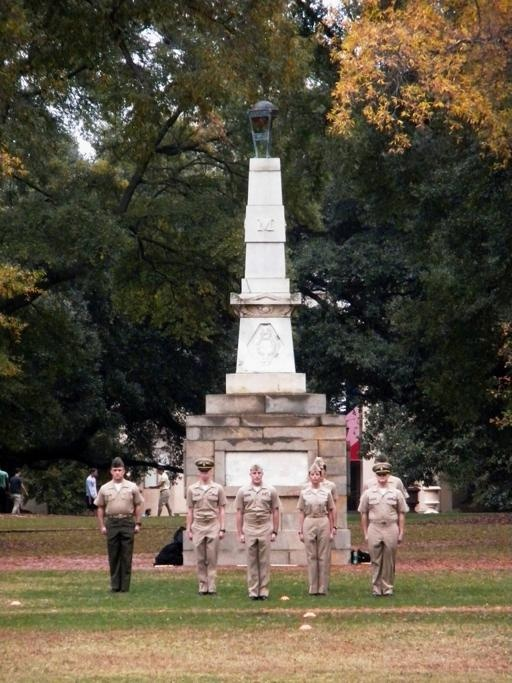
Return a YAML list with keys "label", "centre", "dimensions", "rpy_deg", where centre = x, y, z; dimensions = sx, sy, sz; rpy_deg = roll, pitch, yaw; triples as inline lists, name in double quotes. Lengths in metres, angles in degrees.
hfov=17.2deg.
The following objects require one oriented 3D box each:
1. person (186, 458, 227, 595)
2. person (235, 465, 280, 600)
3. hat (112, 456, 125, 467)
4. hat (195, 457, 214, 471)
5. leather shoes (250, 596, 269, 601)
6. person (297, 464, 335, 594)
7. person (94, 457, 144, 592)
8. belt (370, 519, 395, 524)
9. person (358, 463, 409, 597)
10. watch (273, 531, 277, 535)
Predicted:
- label: "person"
  centre: [-0.651, 2.280, 20.767]
  dimensions: [0.459, 1.645, 0.624]
  rpy_deg: [3, -8, -3]
- label: "person"
  centre: [0.023, 2.313, 20.455]
  dimensions: [0.504, 1.589, 0.641]
  rpy_deg: [6, -8, -20]
- label: "hat"
  centre: [-1.737, 1.510, 20.909]
  dimensions: [0.102, 0.150, 0.145]
  rpy_deg: [0, 16, -1]
- label: "hat"
  centre: [-0.682, 1.560, 21.458]
  dimensions: [0.294, 0.173, 0.358]
  rpy_deg: [1, -17, 2]
- label: "leather shoes"
  centre: [0.018, 3.017, 20.020]
  dimensions: [0.197, 0.096, 0.071]
  rpy_deg: [-2, 6, -11]
- label: "person"
  centre: [0.698, 2.397, 20.613]
  dimensions: [0.450, 1.353, 0.293]
  rpy_deg: [2, -8, 7]
- label: "person"
  centre: [-1.745, 2.281, 21.087]
  dimensions: [0.587, 1.693, 1.104]
  rpy_deg: [3, -8, -5]
- label: "belt"
  centre: [1.503, 2.194, 20.462]
  dimensions: [0.282, 0.076, 0.094]
  rpy_deg: [3, -8, 4]
- label: "person"
  centre: [1.493, 2.272, 20.436]
  dimensions: [0.552, 1.602, 0.524]
  rpy_deg: [2, -8, 5]
- label: "watch"
  centre: [0.206, 2.328, 20.496]
  dimensions: [0.043, 0.038, 0.044]
  rpy_deg: [5, 4, 17]
